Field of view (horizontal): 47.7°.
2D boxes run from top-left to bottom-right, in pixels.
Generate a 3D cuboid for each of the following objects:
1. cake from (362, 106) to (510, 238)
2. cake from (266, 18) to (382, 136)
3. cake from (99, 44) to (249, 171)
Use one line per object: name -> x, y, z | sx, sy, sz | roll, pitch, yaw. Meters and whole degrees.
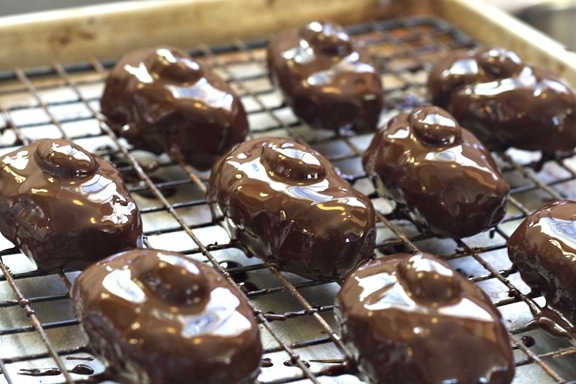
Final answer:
cake -> 0.219, -0.035, 1.056 | 0.231, 0.126, 0.156 | 32, 60, 30
cake -> 0.067, -0.221, 1.214 | 0.172, 0.126, 0.225 | -14, 54, -9
cake -> -0.192, -0.131, 1.152 | 0.244, 0.120, 0.171 | 25, 59, 19
